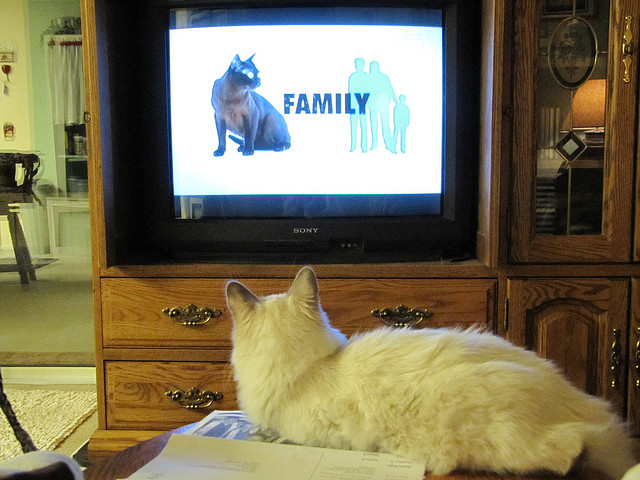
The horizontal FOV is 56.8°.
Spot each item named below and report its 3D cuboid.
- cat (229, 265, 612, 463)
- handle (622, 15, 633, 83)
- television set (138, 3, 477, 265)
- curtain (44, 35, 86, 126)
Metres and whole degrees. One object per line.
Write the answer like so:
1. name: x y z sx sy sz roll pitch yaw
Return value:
1. cat: 0.192 0.281 1.271 0.793 0.319 0.282 4 10 10
2. handle: 0.981 -0.618 1.899 0.032 0.210 0.028 -2 10 12
3. television set: -0.031 -0.312 2.487 1.504 1.254 0.829 0 5 0
4. curtain: -1.252 -0.799 2.933 0.215 0.448 0.050 -2 10 13
